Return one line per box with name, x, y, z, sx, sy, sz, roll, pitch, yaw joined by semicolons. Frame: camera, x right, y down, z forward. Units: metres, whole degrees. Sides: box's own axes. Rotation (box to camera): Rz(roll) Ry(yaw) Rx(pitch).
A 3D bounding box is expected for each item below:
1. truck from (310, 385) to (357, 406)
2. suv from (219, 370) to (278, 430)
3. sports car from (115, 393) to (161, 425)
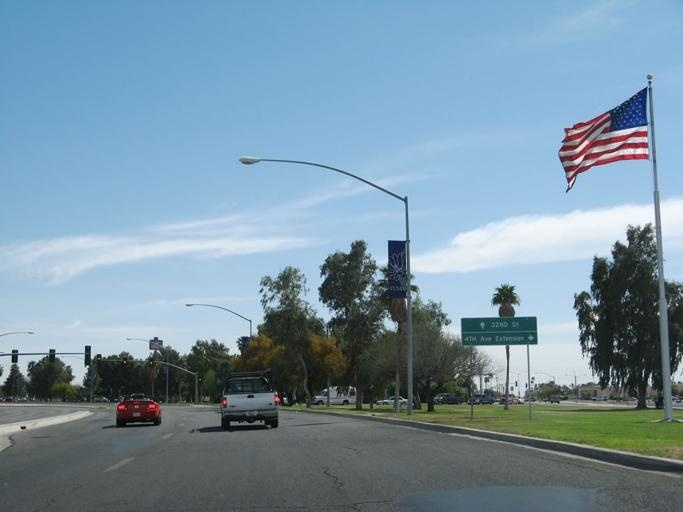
truck;-0.241;17.607;99.339;6.091;3.184;3.149;1;-9;-4
suv;-4.329;6.125;35.520;2.364;2.624;5.656;-1;-1;-11
sports car;-9.481;7.209;37.609;1.147;1.001;2.514;1;-3;-6
